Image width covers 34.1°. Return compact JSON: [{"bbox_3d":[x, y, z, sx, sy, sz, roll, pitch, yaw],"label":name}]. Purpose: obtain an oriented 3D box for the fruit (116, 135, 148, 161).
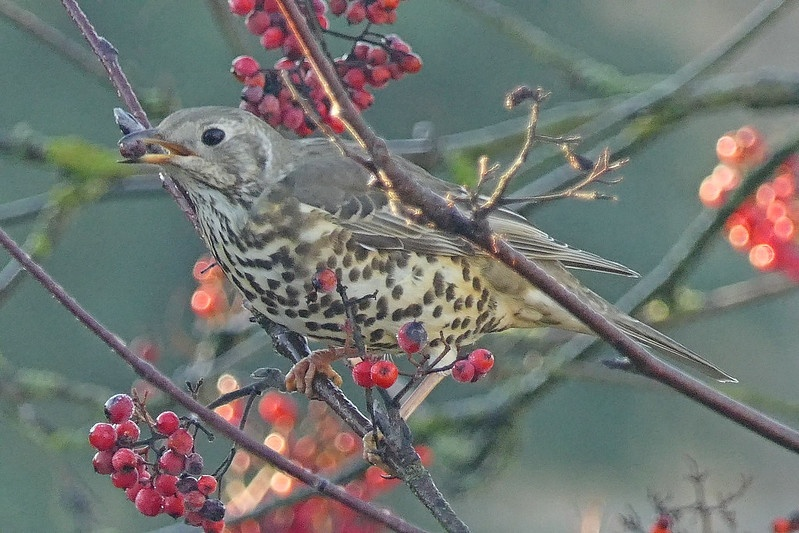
[{"bbox_3d":[-1.161,-0.525,5.673,0.092,0.234,0.123,-8,-70,-3],"label":"fruit"}]
